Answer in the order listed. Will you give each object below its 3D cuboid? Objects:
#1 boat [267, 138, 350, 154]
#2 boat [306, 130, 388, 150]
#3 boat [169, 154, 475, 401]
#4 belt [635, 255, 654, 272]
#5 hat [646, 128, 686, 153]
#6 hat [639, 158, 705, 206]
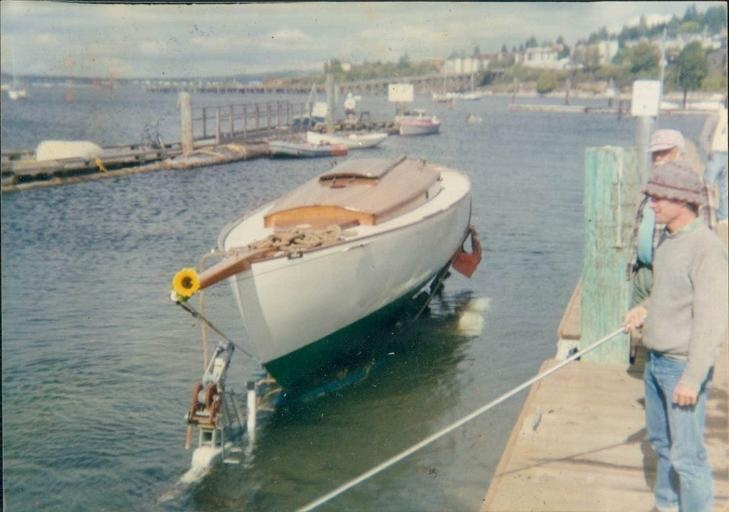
[{"bbox_3d":[-1.961,-3.700,33.247,2.777,0.482,0.876,-2,34,-12],"label":"boat"},{"bbox_3d":[-0.738,-3.966,34.282,2.624,0.550,1.076,1,26,2],"label":"boat"},{"bbox_3d":[-0.546,0.295,17.480,2.270,3.706,6.451,3,13,34],"label":"boat"},{"bbox_3d":[4.152,0.116,14.252,0.246,0.111,0.330,4,6,25],"label":"belt"},{"bbox_3d":[4.541,-1.747,14.461,0.369,0.202,0.560,-4,7,39],"label":"hat"},{"bbox_3d":[4.241,-0.977,13.076,0.724,0.341,0.658,-6,17,-19],"label":"hat"}]
